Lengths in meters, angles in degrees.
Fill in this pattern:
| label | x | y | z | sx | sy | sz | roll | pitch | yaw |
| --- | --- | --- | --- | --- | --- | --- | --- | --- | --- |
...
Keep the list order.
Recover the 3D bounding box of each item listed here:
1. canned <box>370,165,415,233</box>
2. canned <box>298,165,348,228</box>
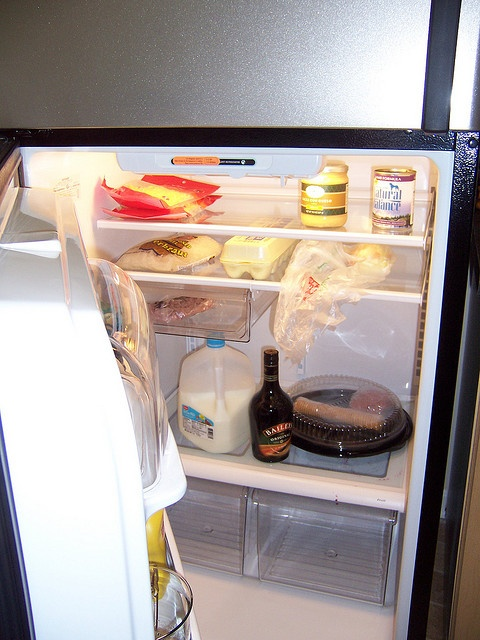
| label | x | y | z | sx | sy | sz | roll | pitch | yaw |
| --- | --- | --- | --- | --- | --- | --- | --- | --- | --- |
| canned | 0.285 | -0.242 | 0.979 | 0.114 | 0.134 | 0.116 | -2 | 18 | -1 |
| canned | 0.174 | -0.259 | 1.029 | 0.117 | 0.130 | 0.118 | 9 | 18 | 33 |
